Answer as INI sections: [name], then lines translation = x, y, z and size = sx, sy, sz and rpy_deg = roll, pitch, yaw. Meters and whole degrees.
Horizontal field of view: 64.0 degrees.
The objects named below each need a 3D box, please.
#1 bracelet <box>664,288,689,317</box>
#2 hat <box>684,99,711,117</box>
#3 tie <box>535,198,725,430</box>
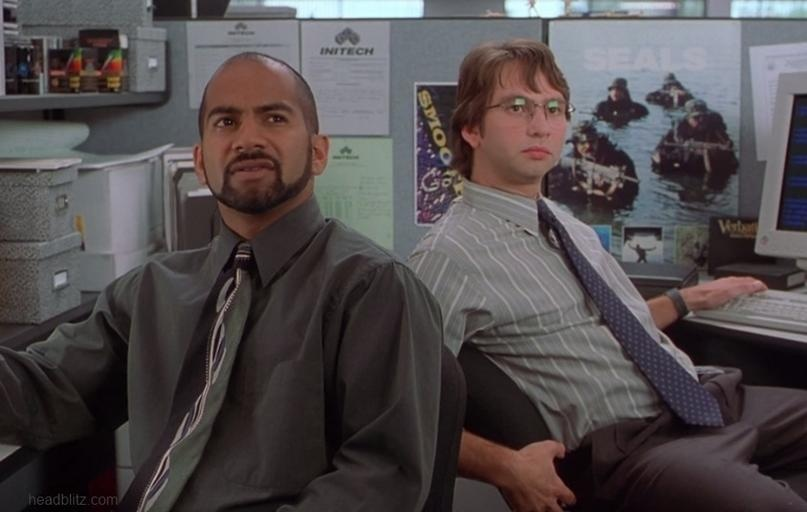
[bracelet]
translation = 0.758, 0.128, 1.782
size = 0.026, 0.070, 0.061
rpy_deg = -19, 4, -12
[hat]
translation = 0.990, -0.509, 2.188
size = 0.054, 0.057, 0.073
rpy_deg = -13, -30, 18
[tie]
translation = 0.593, 0.153, 1.647
size = 0.095, 0.663, 0.088
rpy_deg = -39, -26, 22
